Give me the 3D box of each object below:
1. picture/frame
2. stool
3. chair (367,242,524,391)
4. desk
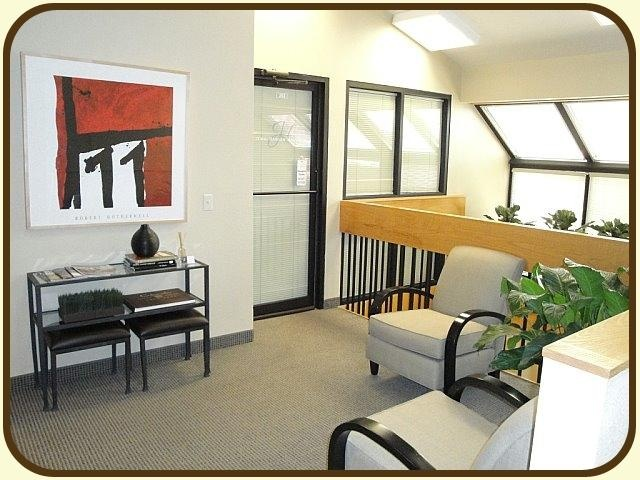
[{"bbox_3d":[-1.698,-0.786,3.484,1.485,1.406,0.061,-6,13,-29],"label":"picture/frame"},{"bbox_3d":[-1.463,0.861,3.505,1.191,0.556,0.411,-5,15,-31],"label":"stool"},{"bbox_3d":[1.036,0.629,3.742,1.094,1.023,0.972,-4,9,-26],"label":"chair"},{"bbox_3d":[-1.476,0.667,3.498,1.209,0.817,0.452,-4,12,-39],"label":"desk"}]
